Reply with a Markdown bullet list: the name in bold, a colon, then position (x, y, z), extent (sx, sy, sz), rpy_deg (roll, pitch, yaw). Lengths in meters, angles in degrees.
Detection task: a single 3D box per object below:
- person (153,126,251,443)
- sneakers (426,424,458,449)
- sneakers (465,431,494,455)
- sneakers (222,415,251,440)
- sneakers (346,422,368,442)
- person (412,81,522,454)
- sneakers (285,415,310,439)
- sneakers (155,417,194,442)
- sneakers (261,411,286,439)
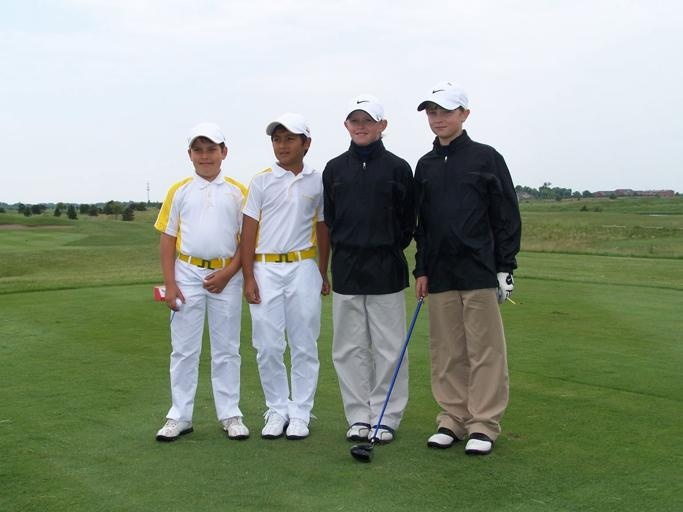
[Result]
- **person**: position (-1.310, 0.179, 5.455), extent (0.826, 2.860, 0.898), rpy_deg (-1, 7, -10)
- **sneakers**: position (0.908, 1.610, 5.143), extent (0.184, 0.154, 0.372), rpy_deg (5, 8, 33)
- **sneakers**: position (1.180, 1.589, 4.932), extent (0.226, 0.146, 0.195), rpy_deg (2, 7, 17)
- **sneakers**: position (-0.958, 1.574, 5.294), extent (0.121, 0.126, 0.286), rpy_deg (0, -3, -29)
- **sneakers**: position (0.156, 1.590, 5.261), extent (0.224, 0.118, 0.200), rpy_deg (1, 7, 2)
- **person**: position (1.084, 0.062, 5.200), extent (0.953, 3.249, 0.781), rpy_deg (2, 7, 19)
- **sneakers**: position (-0.397, 1.573, 5.310), extent (0.207, 0.132, 0.247), rpy_deg (0, 7, -4)
- **sneakers**: position (-1.503, 1.549, 5.205), extent (0.186, 0.161, 0.386), rpy_deg (2, 7, 12)
- **sneakers**: position (-0.625, 1.560, 5.428), extent (0.230, 0.162, 0.379), rpy_deg (0, 7, -3)
